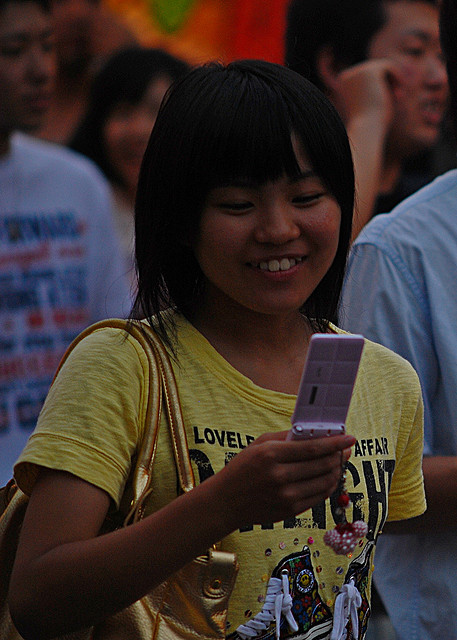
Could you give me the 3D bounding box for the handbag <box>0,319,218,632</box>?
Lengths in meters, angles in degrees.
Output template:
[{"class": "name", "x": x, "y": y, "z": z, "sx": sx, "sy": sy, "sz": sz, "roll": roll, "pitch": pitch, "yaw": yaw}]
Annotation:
[{"class": "handbag", "x": -0.270, "y": 0.304, "z": 1.356, "sx": 0.424, "sy": 0.539, "sz": 0.338, "roll": -8, "pitch": 16, "yaw": -5}]
